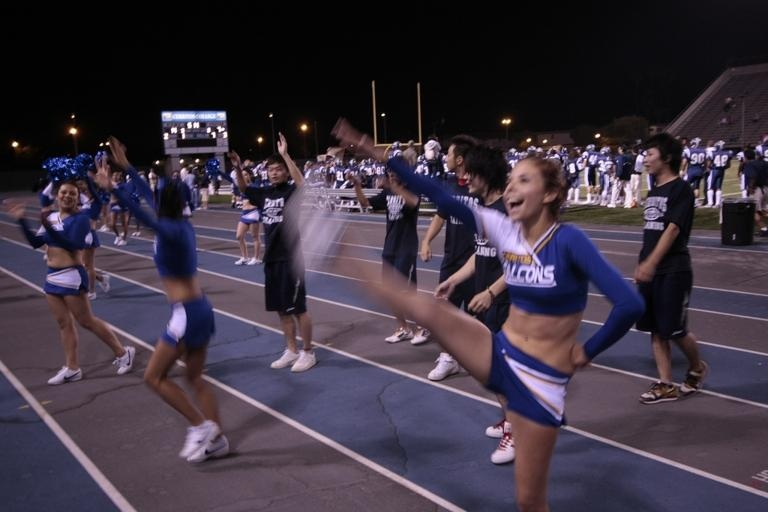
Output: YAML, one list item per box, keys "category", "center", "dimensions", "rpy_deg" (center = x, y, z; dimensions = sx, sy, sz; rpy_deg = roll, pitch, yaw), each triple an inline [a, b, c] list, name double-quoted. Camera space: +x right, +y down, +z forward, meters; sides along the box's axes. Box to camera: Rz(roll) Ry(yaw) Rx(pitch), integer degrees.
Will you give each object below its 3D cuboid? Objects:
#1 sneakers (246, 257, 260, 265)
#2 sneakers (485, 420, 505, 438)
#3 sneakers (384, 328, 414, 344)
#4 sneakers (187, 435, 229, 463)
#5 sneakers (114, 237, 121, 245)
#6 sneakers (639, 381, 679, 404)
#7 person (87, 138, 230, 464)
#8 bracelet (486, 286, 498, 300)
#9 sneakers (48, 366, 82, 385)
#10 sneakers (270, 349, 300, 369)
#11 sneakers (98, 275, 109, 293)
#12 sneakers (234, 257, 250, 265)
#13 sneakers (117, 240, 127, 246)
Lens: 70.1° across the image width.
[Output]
- category: "sneakers"
  center: [-3.411, 0.163, 14.323]
  dimensions: [0.146, 0.163, 0.422]
  rpy_deg: [-1, 2, 29]
- category: "sneakers"
  center: [1.196, 1.862, 5.873]
  dimensions: [0.269, 0.119, 0.123]
  rpy_deg: [4, 1, -33]
- category: "sneakers"
  center: [0.256, 1.236, 8.482]
  dimensions: [0.506, 0.223, 0.170]
  rpy_deg: [-2, 0, -25]
- category: "sneakers"
  center: [-1.835, 1.990, 5.635]
  dimensions: [0.458, 0.213, 0.162]
  rpy_deg: [2, -1, -44]
- category: "sneakers"
  center: [-9.314, -0.517, 19.096]
  dimensions: [0.179, 0.263, 0.117]
  rpy_deg: [-6, -30, -41]
- category: "sneakers"
  center: [3.192, 1.603, 6.407]
  dimensions: [0.493, 0.217, 0.200]
  rpy_deg: [-2, -4, -3]
- category: "person"
  center: [-2.363, 0.595, 5.895]
  dimensions: [0.935, 2.864, 1.531]
  rpy_deg: [-7, 13, -29]
- category: "bracelet"
  center: [1.139, 0.401, 5.774]
  dimensions: [0.115, 0.088, 0.061]
  rpy_deg: [5, -17, 10]
- category: "sneakers"
  center: [-4.277, 1.605, 7.421]
  dimensions: [0.488, 0.238, 0.182]
  rpy_deg: [0, 6, -24]
- category: "sneakers"
  center: [-1.370, 1.457, 7.692]
  dimensions: [0.466, 0.212, 0.176]
  rpy_deg: [-8, 7, -29]
- category: "sneakers"
  center: [-6.003, 0.600, 11.711]
  dimensions: [0.151, 0.360, 0.143]
  rpy_deg: [23, 39, -16]
- category: "sneakers"
  center: [-3.768, 0.145, 14.358]
  dimensions: [0.438, 0.192, 0.175]
  rpy_deg: [-3, 5, -3]
- category: "sneakers"
  center: [-9.040, -0.436, 18.819]
  dimensions: [0.170, 0.210, 0.513]
  rpy_deg: [0, -3, 2]
